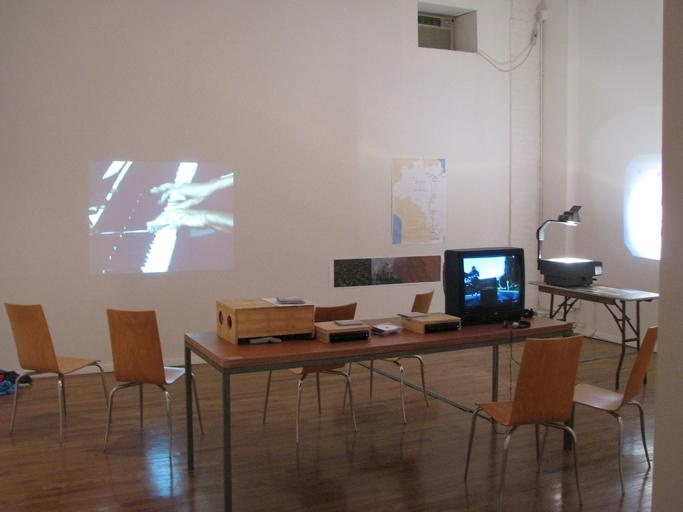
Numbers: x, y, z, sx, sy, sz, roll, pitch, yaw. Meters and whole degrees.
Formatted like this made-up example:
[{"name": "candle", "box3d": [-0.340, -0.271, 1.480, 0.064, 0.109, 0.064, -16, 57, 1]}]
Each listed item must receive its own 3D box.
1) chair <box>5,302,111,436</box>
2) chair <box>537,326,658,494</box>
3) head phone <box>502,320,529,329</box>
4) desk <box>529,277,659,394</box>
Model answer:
[{"name": "chair", "box3d": [-2.753, 0.932, 5.196, 0.652, 1.164, 1.470, -5, 9, -31]}, {"name": "chair", "box3d": [1.925, 1.106, 4.259, 0.667, 1.144, 0.762, -1, 2, -40]}, {"name": "head phone", "box3d": [1.390, 0.543, 4.433, 0.133, 0.052, 0.091, 0, -3, -1]}, {"name": "desk", "box3d": [2.998, 0.900, 6.751, 0.635, 1.010, 1.542, -1, 5, -18]}]
